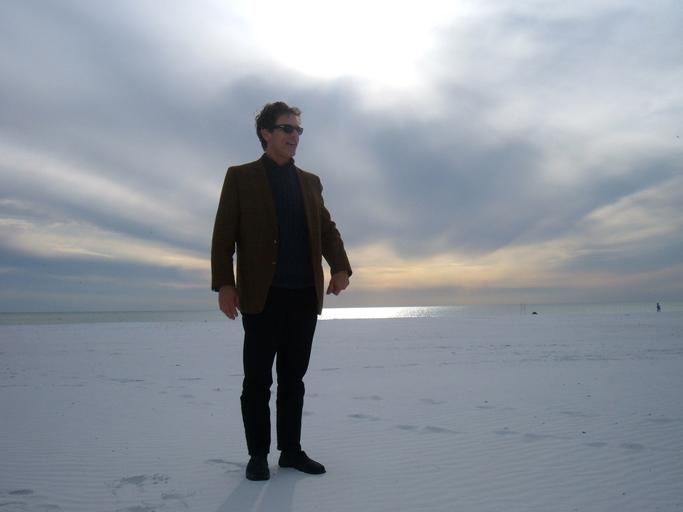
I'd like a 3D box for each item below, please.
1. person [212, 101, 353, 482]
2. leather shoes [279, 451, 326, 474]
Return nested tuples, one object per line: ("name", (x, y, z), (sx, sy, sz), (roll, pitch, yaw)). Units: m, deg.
("person", (-0.624, 0.300, 4.976), (1.254, 3.621, 0.430), (0, -2, -17))
("leather shoes", (-0.390, 2.013, 5.085), (0.519, 0.223, 0.182), (1, -3, 16))
